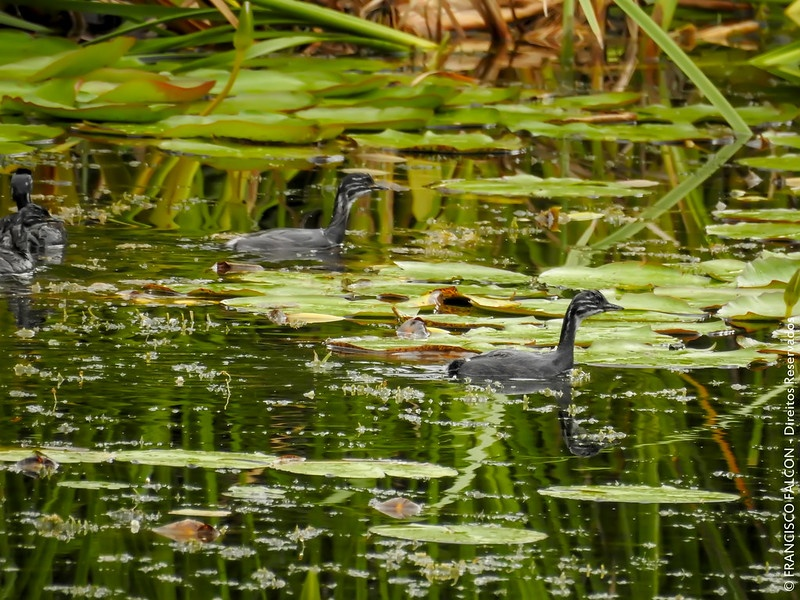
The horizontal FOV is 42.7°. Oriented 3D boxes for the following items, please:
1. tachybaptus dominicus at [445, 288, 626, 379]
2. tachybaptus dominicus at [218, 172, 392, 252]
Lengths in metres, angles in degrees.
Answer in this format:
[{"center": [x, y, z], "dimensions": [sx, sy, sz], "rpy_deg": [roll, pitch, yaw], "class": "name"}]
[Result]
[{"center": [0.817, 0.204, 6.187], "dimensions": [0.939, 0.546, 0.257], "rpy_deg": [3, -5, -24], "class": "tachybaptus dominicus"}, {"center": [-0.770, -0.793, 8.971], "dimensions": [0.567, 0.860, 1.335], "rpy_deg": [-1, -5, 33], "class": "tachybaptus dominicus"}]
